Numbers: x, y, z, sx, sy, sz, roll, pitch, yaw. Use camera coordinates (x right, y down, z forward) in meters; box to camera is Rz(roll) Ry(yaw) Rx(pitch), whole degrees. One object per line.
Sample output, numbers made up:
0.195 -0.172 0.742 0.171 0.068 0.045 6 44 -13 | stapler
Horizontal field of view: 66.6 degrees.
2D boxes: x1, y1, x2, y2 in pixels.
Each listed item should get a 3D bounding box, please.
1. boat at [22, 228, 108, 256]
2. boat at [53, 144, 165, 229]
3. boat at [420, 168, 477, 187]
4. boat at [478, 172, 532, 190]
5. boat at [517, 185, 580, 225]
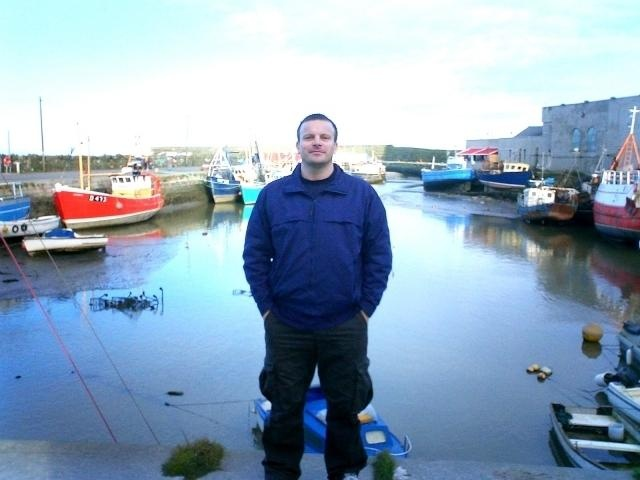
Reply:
-7.891 0.060 15.233 2.122 0.786 1.026 -6 7 -33 | boat
-9.634 -2.111 22.054 2.357 3.056 6.563 6 11 19 | boat
11.066 -5.182 42.277 1.571 1.867 4.525 -8 14 -43 | boat
13.398 -4.219 34.877 0.780 0.737 2.947 19 5 -19 | boat
11.071 -1.617 23.701 2.522 1.742 1.915 10 13 39 | boat
